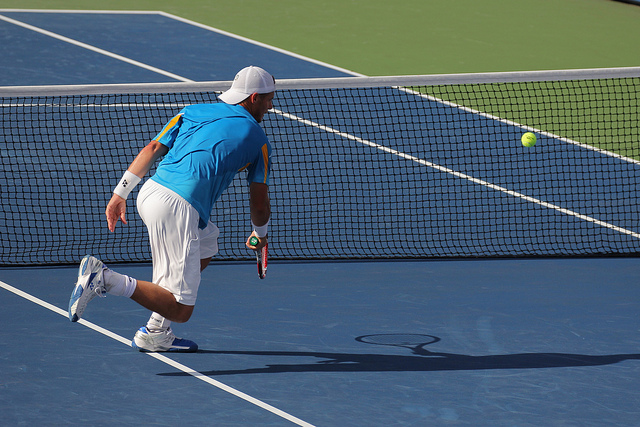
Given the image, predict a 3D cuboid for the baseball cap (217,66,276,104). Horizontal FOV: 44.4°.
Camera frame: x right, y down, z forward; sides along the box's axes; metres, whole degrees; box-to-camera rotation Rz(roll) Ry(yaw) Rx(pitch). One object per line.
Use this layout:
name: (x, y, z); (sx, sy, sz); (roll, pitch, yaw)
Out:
baseball cap: (-0.792, -1.301, 7.594); (0.400, 0.266, 0.608); (30, 39, 26)

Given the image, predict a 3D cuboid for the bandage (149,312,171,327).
bandage: (-1.575, 1.052, 7.741); (0.174, 0.121, 0.135); (36, 4, -45)
